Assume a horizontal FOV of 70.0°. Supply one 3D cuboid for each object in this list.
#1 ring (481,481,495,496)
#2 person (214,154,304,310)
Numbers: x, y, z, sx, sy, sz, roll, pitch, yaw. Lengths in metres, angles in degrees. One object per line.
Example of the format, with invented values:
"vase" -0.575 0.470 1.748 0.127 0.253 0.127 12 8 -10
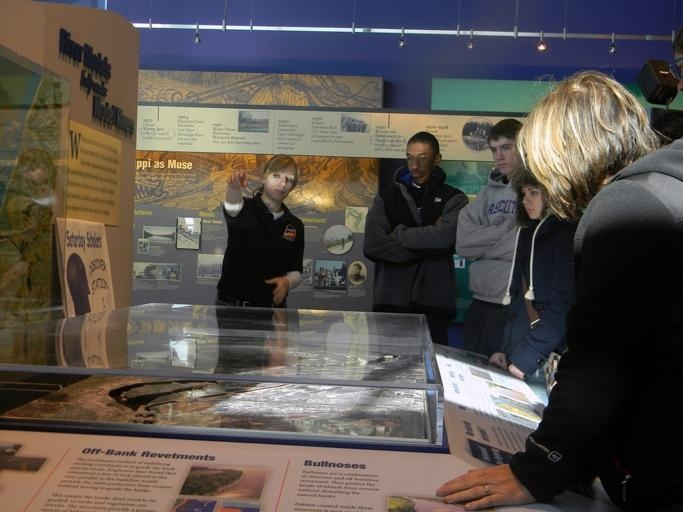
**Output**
"ring" 0.305 0.482 1.007 0.017 0.017 0.018 -6 7 1
"person" -0.499 -0.158 3.024 0.416 0.938 0.601 5 9 29
